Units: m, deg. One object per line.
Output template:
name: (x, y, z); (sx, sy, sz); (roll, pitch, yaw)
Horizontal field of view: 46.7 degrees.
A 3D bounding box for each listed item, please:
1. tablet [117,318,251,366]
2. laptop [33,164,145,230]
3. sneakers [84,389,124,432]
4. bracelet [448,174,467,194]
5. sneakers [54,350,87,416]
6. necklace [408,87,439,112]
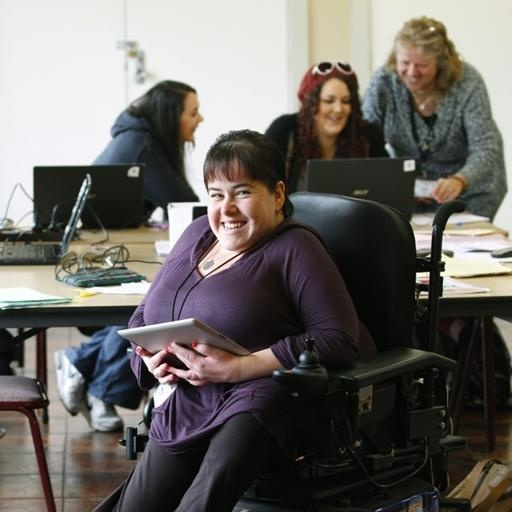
tablet: (-0.137, 0.177, 1.223); (0.296, 0.023, 0.309); (-2, -24, 38)
laptop: (-0.799, -0.300, 2.837); (0.406, 0.349, 0.301); (-2, 22, -14)
sneakers: (-0.656, 0.657, 2.551); (0.081, 0.190, 0.234); (-3, 7, -44)
bracelet: (1.418, -0.504, 4.119); (0.029, 0.128, 0.122); (-21, 41, -7)
sneakers: (-0.775, 0.536, 2.461); (0.098, 0.147, 0.311); (0, 9, -20)
necklace: (1.189, -1.101, 4.153); (0.129, 0.211, 0.067); (-2, -2, 10)
